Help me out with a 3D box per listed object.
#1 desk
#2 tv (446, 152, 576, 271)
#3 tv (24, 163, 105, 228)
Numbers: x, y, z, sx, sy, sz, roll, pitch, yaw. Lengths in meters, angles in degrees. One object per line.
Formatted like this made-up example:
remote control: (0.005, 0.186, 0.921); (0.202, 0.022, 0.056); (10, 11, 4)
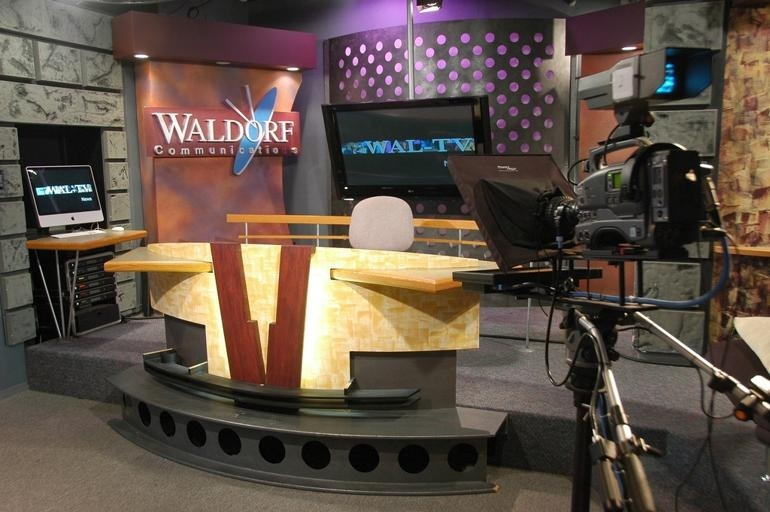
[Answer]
desk: (-3.001, 0.308, 5.620); (0.434, 0.615, 1.085); (3, 7, -1)
tv: (0.743, -0.270, 3.227); (0.736, 0.629, 0.505); (-3, 9, -2)
tv: (-3.321, -0.624, 5.838); (0.237, 0.601, 0.671); (-2, 9, 31)
